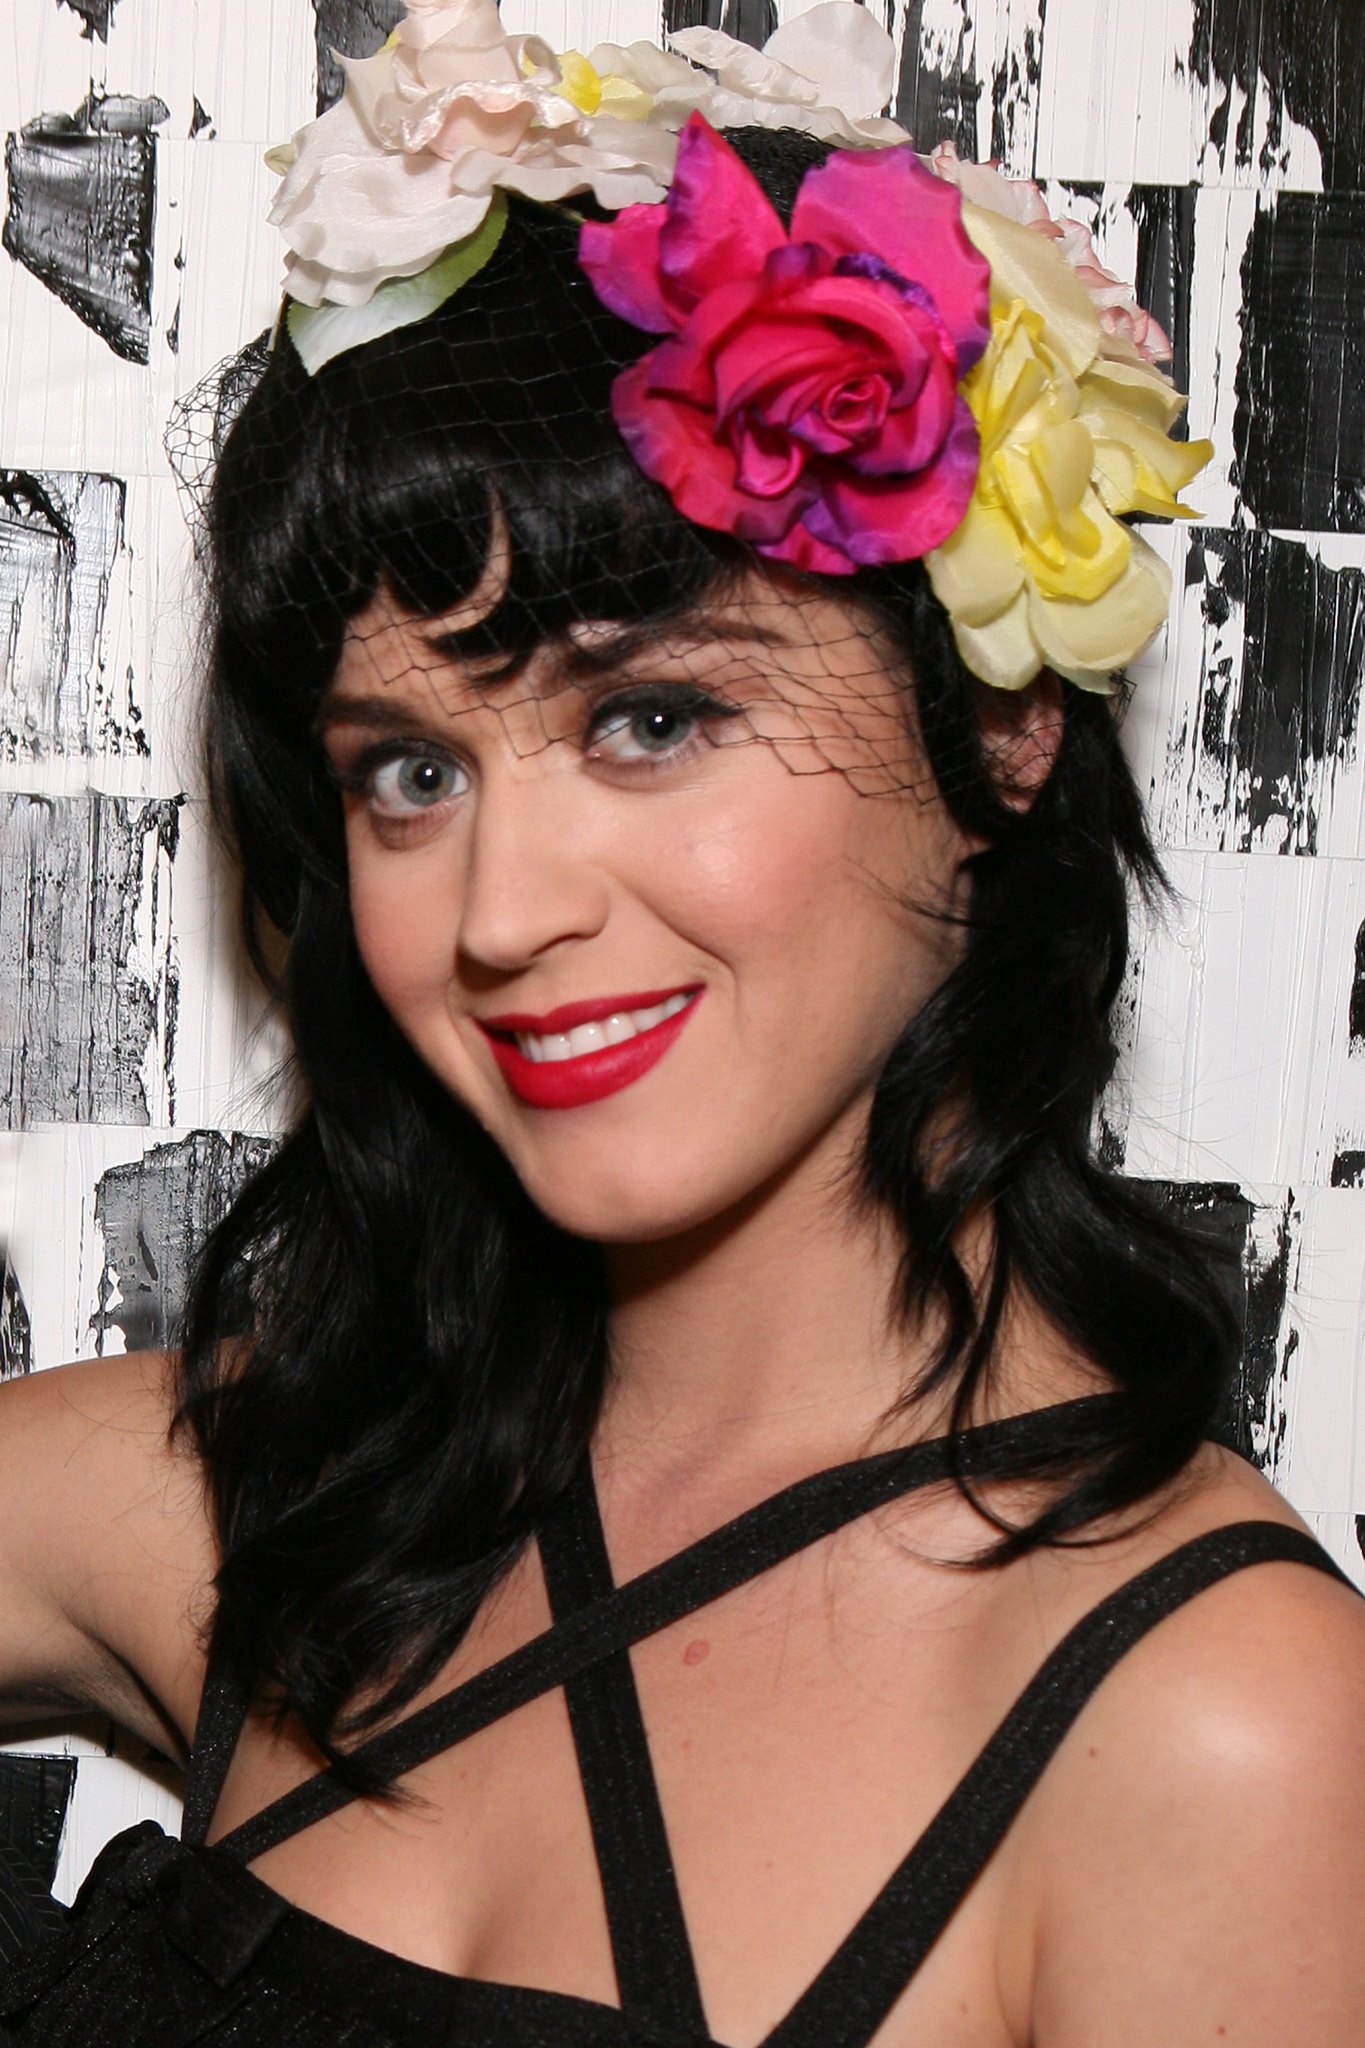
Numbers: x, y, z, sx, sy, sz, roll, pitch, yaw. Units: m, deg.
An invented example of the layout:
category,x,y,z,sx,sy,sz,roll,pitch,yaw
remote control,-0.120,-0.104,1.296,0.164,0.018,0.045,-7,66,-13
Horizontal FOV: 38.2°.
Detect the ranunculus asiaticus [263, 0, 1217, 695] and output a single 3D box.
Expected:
category,x,y,z,sx,sy,sz,roll,pitch,yaw
ranunculus asiaticus,0.043,-0.315,1.063,0.462,0.249,0.341,18,59,4
